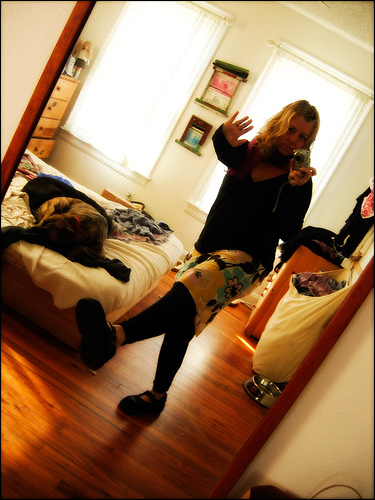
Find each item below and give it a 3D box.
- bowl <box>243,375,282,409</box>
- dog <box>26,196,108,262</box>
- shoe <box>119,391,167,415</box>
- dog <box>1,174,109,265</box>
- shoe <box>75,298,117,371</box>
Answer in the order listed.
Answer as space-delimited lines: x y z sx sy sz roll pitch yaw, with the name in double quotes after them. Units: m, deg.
0.285 0.543 1.491 0.135 0.072 0.159 34 10 19 "bowl"
-0.485 -0.122 1.541 0.320 0.141 0.431 11 24 -29 "dog"
-0.147 0.483 1.225 0.138 0.056 0.058 10 20 -32 "shoe"
-0.486 -0.119 1.495 0.273 0.135 0.383 24 17 -24 "dog"
-0.252 0.226 1.096 0.097 0.213 0.094 10 10 34 "shoe"
